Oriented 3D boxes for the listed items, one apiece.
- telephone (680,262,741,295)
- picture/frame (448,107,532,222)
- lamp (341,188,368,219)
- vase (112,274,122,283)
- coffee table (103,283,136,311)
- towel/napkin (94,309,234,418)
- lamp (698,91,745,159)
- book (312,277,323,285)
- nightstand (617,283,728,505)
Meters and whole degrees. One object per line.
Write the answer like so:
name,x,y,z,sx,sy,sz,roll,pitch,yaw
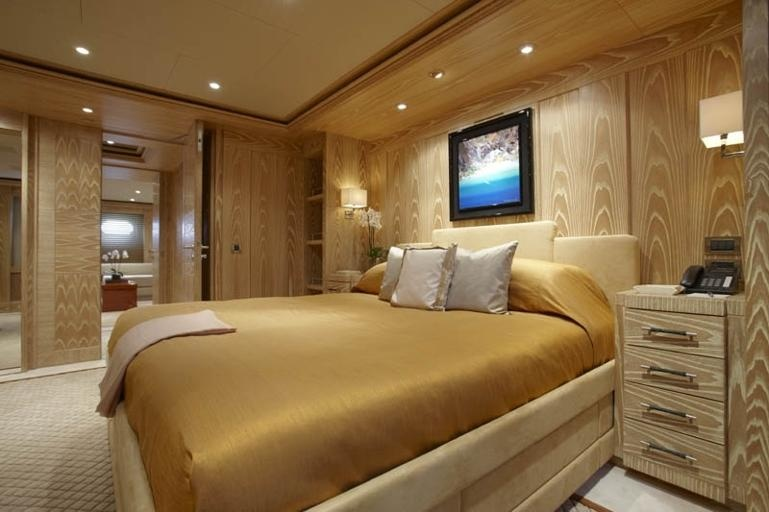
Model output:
telephone,2.235,0.150,3.370,0.415,0.137,0.399,-12,5,-15
picture/frame,1.014,-0.833,4.620,0.084,1.084,1.052,1,-3,-43
lamp,-0.355,-0.587,5.683,0.312,0.444,0.219,5,-8,-40
vase,-4.984,0.438,9.238,0.186,0.145,0.196,-1,2,-24
coffee table,-4.588,0.720,8.543,0.446,0.350,0.454,-1,1,-26
towel/napkin,-1.328,0.566,3.064,0.701,0.504,0.657,9,-6,-36
lamp,2.316,-0.884,3.412,0.256,0.414,0.413,0,3,34
book,-0.840,0.299,6.203,0.082,0.102,0.148,-3,4,-44
nightstand,1.977,0.833,3.297,0.653,1.286,0.583,5,15,45
